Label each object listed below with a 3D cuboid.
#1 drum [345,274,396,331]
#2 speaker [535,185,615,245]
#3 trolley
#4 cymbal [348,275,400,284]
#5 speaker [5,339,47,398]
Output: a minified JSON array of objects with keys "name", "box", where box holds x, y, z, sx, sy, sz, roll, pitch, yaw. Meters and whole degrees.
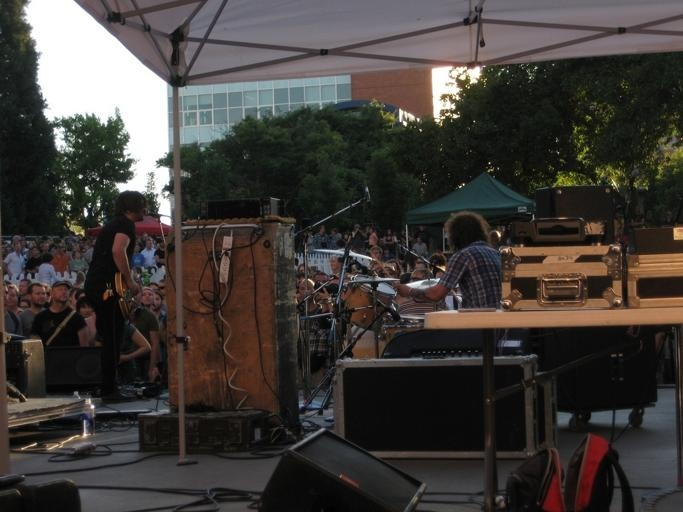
[{"name":"drum","box":[0.249,0.567,16.792,0.737,0.611,0.644,26,15,-45]},{"name":"speaker","box":[2.404,-0.336,12.489,0.792,0.649,0.447,1,-24,10]},{"name":"trolley","box":[3.013,1.384,14.701,1.584,1.684,1.189,-1,1,4]},{"name":"cymbal","box":[0.444,0.333,16.172,0.236,0.075,0.296,-4,-8,25]},{"name":"speaker","box":[-4.039,1.420,15.520,0.444,0.747,0.489,3,9,-39]}]
